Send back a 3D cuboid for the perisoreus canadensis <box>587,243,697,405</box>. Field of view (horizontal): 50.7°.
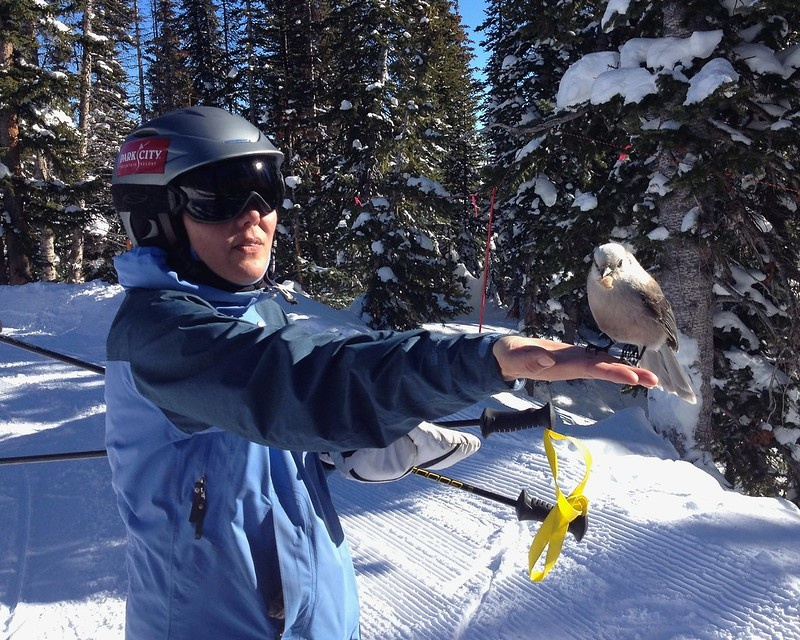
[{"bbox_3d":[3.263,0.098,11.033,2.843,1.248,0.903,28,-19,-37],"label":"perisoreus canadensis"}]
